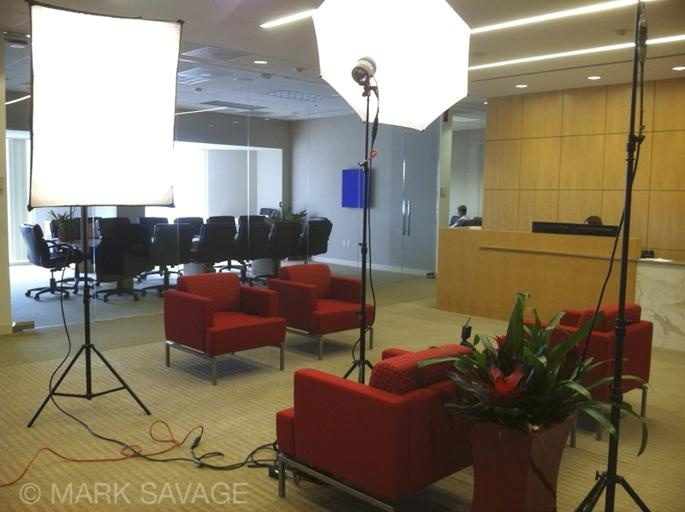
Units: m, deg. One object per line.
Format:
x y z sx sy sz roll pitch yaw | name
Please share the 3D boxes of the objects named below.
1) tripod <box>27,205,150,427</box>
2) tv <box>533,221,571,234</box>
-2.342 0.393 4.818 0.898 1.762 2.081 -5 11 -31 | tripod
2.767 -0.374 7.273 0.507 0.157 0.222 9 13 39 | tv
